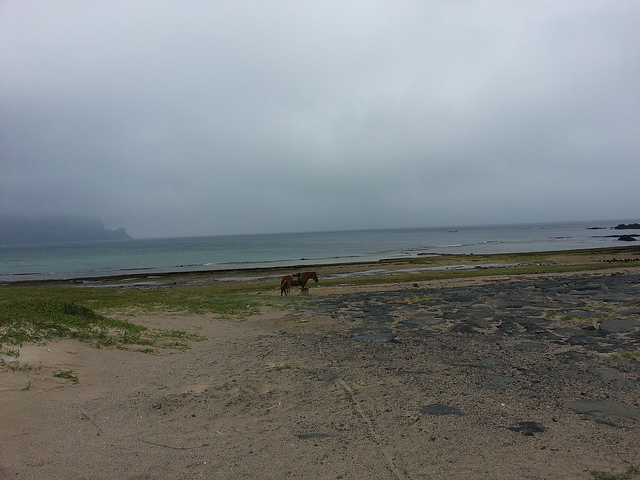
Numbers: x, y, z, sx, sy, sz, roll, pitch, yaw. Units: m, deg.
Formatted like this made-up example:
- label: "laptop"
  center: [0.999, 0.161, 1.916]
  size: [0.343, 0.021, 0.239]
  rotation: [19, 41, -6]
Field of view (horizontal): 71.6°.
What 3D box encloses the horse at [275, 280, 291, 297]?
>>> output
- label: "horse"
  center: [-2.426, 3.340, 32.001]
  size: [0.654, 1.169, 1.705]
  rotation: [-3, 0, -4]
